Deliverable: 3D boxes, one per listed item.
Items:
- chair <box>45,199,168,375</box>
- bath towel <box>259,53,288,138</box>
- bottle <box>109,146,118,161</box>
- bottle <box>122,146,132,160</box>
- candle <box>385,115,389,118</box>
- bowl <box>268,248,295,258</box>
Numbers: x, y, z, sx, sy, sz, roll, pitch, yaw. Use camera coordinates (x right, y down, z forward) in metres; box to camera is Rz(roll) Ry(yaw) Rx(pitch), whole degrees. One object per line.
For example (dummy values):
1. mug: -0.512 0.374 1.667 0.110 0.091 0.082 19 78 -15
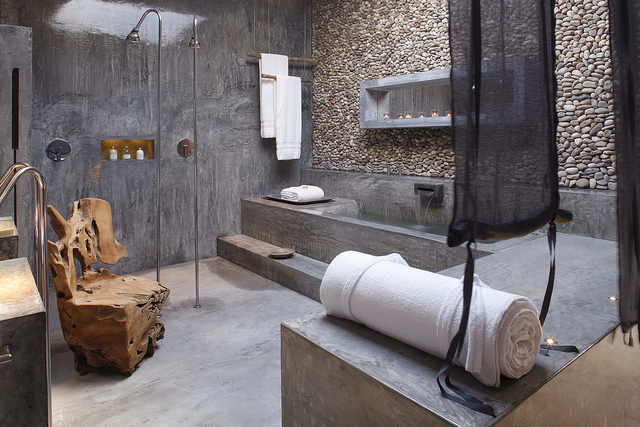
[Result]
1. chair: -1.284 0.423 2.477 0.638 0.899 0.811 6 8 -17
2. bath towel: -0.498 -1.260 4.309 0.306 0.859 0.233 -2 12 -7
3. bottle: -1.893 -0.558 3.672 0.055 0.116 0.084 0 11 2
4. bottle: -1.795 -0.565 3.726 0.077 0.119 0.090 -6 13 -26
5. candle: 0.690 -1.008 4.168 0.043 0.039 0.010 1 -1 15
6. bowl: -0.342 0.342 3.633 0.217 0.057 0.232 0 10 0
